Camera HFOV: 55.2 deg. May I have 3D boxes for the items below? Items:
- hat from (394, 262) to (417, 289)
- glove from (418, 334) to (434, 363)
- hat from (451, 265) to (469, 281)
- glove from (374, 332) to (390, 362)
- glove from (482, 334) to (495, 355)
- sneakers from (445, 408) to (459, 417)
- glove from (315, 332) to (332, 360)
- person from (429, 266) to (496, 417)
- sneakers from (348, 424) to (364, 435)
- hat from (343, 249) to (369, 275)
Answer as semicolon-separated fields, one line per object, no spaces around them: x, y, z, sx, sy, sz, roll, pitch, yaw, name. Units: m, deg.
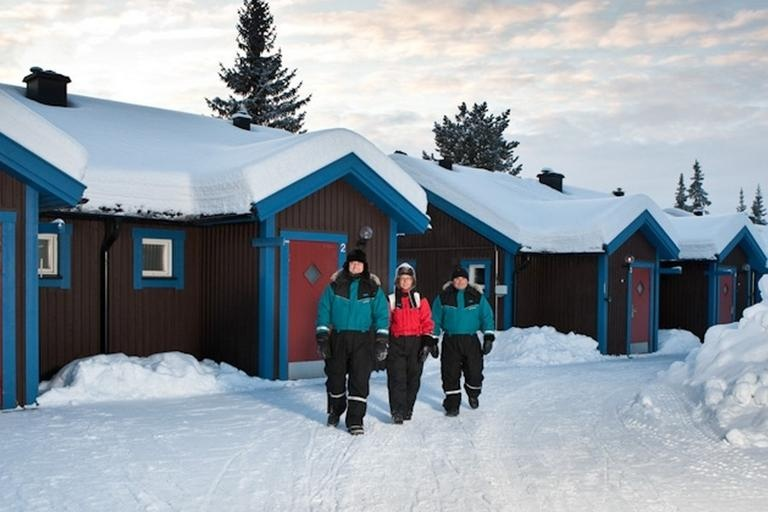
0.322;0.303;11.498;0.323;0.433;0.379;2;29;1;hat
0.675;1.427;11.290;0.350;0.348;0.112;-12;-30;31;glove
1.232;0.275;11.943;0.204;0.173;0.274;0;2;8;hat
-0.032;1.353;10.920;0.235;0.374;0.166;4;-8;-18;glove
1.688;1.424;11.805;0.263;0.334;0.141;-2;-10;6;glove
1.075;2.461;11.563;0.138;0.086;0.142;0;-1;-15;sneakers
-0.902;1.341;10.870;0.259;0.353;0.146;-1;-4;-25;glove
1.250;1.357;11.833;0.977;2.323;0.873;0;6;-4;person
-0.405;2.497;10.537;0.138;0.073;0.221;3;-2;1;sneakers
-0.433;0.100;11.248;0.335;0.387;0.397;5;-31;-5;hat
